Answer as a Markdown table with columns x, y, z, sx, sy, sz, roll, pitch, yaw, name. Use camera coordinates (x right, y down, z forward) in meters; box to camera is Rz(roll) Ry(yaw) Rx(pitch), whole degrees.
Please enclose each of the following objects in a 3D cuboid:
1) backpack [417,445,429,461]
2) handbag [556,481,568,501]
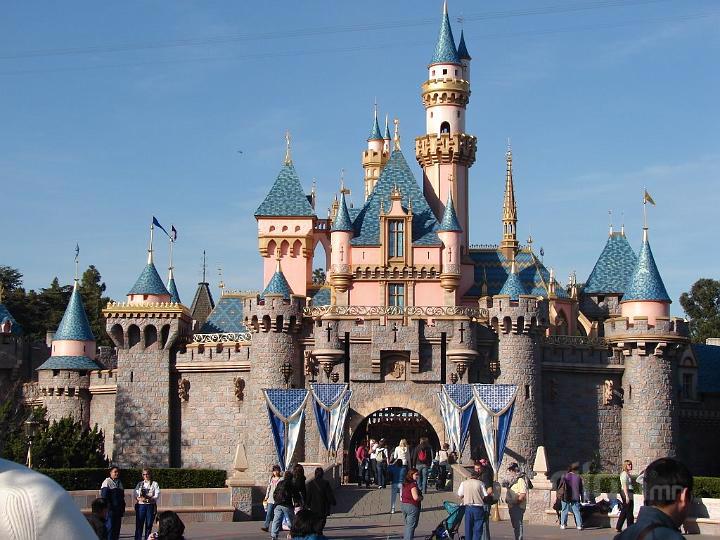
| x | y | z | sx | sy | sz | roll | pitch | yaw | name |
| --- | --- | --- | --- | --- | --- | --- | --- | --- | --- |
| 2.182 | 6.422 | 60.307 | 0.521 | 0.750 | 0.397 | -2 | 1 | 7 | backpack |
| 6.603 | 7.176 | 56.121 | 0.327 | 0.776 | 0.869 | 1 | -9 | -11 | handbag |
